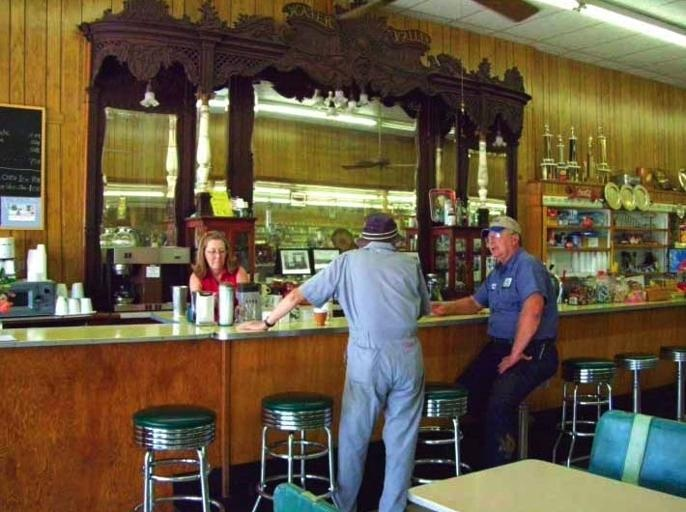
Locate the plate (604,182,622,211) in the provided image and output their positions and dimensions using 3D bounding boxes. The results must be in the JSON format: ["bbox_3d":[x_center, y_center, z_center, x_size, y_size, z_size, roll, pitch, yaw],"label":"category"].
[{"bbox_3d":[3.980,-0.868,10.274,0.137,0.384,0.463,0,2,42],"label":"plate"}]

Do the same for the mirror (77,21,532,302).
[{"bbox_3d":[-0.554,-0.980,7.406,3.213,2.020,0.427,-1,-1,-34],"label":"mirror"}]

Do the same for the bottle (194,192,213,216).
[{"bbox_3d":[-1.381,-0.507,7.033,0.204,0.317,0.202,0,-1,0],"label":"bottle"}]

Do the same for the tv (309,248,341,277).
[{"bbox_3d":[-0.170,0.152,8.201,0.459,0.421,0.229,1,-7,-41],"label":"tv"}]

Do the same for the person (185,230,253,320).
[{"bbox_3d":[-1.062,0.297,6.134,0.483,1.000,0.509,-4,7,-22],"label":"person"}]

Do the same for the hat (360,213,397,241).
[{"bbox_3d":[0.290,-0.206,5.058,0.153,0.131,0.241,1,8,12],"label":"hat"}]

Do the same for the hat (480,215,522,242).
[{"bbox_3d":[1.331,-0.234,5.853,0.299,0.173,0.221,6,-5,-9],"label":"hat"}]

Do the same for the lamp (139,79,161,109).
[{"bbox_3d":[-1.954,-1.665,7.171,0.195,0.283,0.288,-1,1,-16],"label":"lamp"}]

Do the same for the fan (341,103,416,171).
[{"bbox_3d":[0.387,-1.424,8.642,0.657,0.729,0.681,0,-2,-10],"label":"fan"}]

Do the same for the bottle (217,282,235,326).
[{"bbox_3d":[-0.871,0.375,5.312,0.110,0.311,0.084,-1,1,-8],"label":"bottle"}]

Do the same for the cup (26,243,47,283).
[{"bbox_3d":[-2.838,0.069,6.552,0.161,0.337,0.308,-2,2,-26],"label":"cup"}]

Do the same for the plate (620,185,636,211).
[{"bbox_3d":[4.214,-0.851,10.476,0.075,0.346,0.326,-1,-2,43],"label":"plate"}]

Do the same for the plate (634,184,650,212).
[{"bbox_3d":[4.554,-0.866,10.692,0.050,0.406,0.383,-14,-13,39],"label":"plate"}]

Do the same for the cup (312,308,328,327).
[{"bbox_3d":[-0.168,0.490,5.509,0.092,0.117,0.113,-1,-10,9],"label":"cup"}]

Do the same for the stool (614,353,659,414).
[{"bbox_3d":[2.684,1.157,6.410,0.346,0.517,0.268,-2,2,-33],"label":"stool"}]

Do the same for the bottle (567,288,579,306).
[{"bbox_3d":[2.265,0.407,6.909,0.126,0.155,0.133,1,-6,-1],"label":"bottle"}]

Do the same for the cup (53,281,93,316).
[{"bbox_3d":[-2.500,0.395,6.514,0.307,0.324,0.300,1,-3,0],"label":"cup"}]

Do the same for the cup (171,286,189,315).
[{"bbox_3d":[-1.332,0.377,5.824,0.105,0.235,0.185,-1,1,-7],"label":"cup"}]
